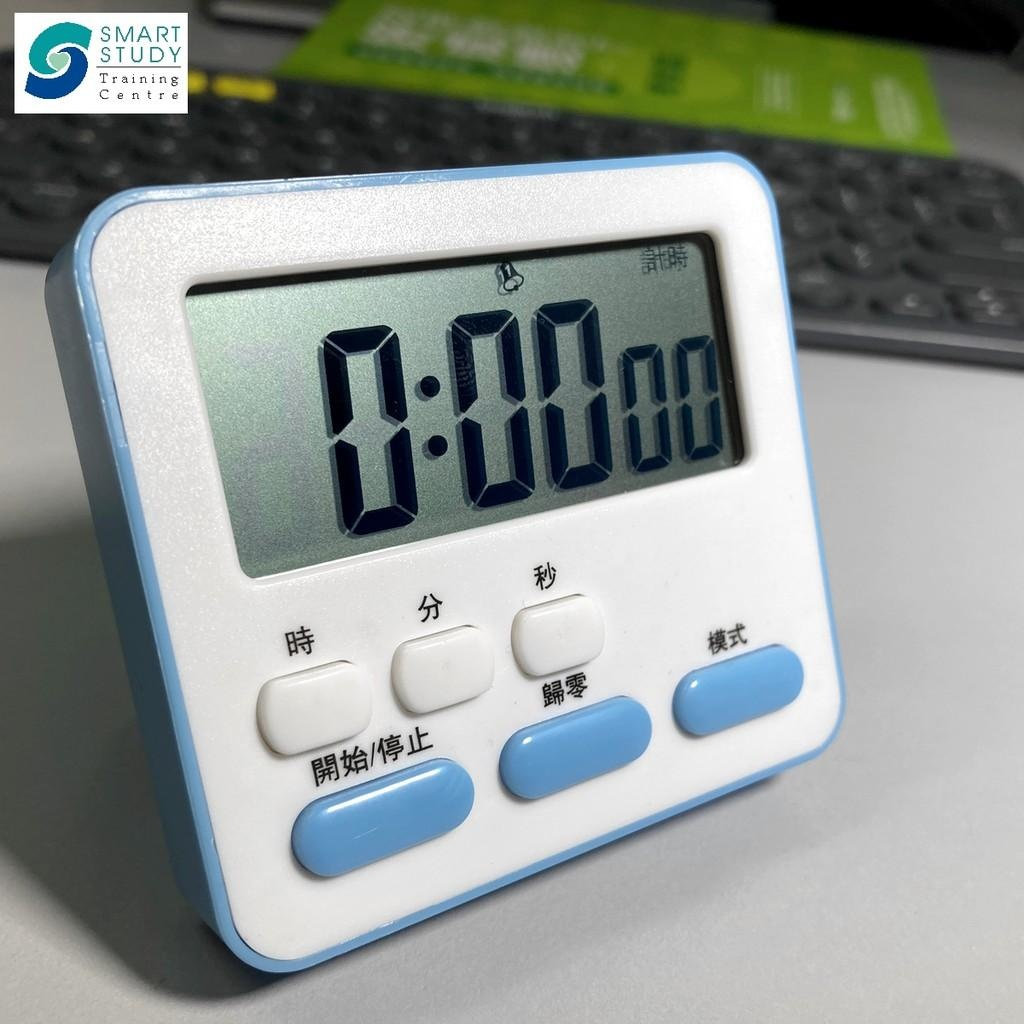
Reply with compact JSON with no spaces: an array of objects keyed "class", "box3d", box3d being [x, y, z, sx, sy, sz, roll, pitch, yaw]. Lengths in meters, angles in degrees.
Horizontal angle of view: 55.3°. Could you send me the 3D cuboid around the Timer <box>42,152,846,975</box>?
[{"class":"Timer","box3d":[-0.024,0.028,0.377,0.286,0.279,0.097,-10,3,-35]}]
